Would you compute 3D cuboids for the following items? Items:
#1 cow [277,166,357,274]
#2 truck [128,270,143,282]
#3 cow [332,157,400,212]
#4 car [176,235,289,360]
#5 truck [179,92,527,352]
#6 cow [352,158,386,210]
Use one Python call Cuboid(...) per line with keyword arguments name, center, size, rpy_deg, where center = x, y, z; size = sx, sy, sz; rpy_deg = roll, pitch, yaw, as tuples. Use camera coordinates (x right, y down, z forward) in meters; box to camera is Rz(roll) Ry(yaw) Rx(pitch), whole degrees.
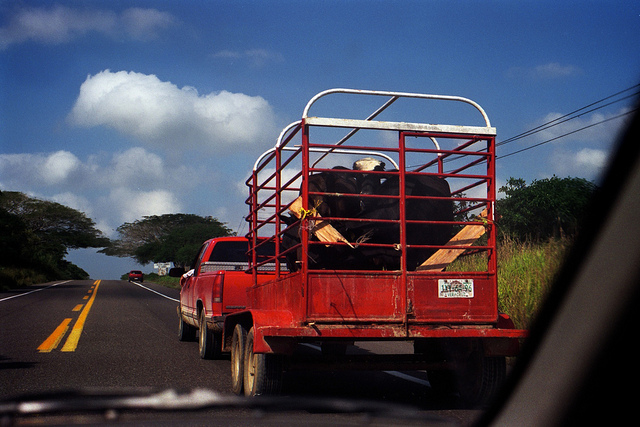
Cuboid(name="cow", center=(-0.030, 0.062, 8.061), size=(0.852, 1.420, 1.329), rpy_deg=(3, -5, -28))
Cuboid(name="truck", center=(-20.281, 6.803, 66.015), size=(1.048, 1.009, 2.253), rpy_deg=(3, -5, -28))
Cuboid(name="cow", center=(0.573, -0.308, 7.596), size=(0.652, 0.662, 0.274), rpy_deg=(1, -13, 3))
Cuboid(name="car", center=(-1.841, 1.381, 11.747), size=(1.684, 1.683, 3.684), rpy_deg=(1, -3, -15))
Cuboid(name="truck", center=(0.223, 0.355, 9.403), size=(2.705, 2.404, 4.739), rpy_deg=(3, -6, -18))
Cuboid(name="cow", center=(0.719, -0.363, 8.544), size=(0.478, 0.425, 0.988), rpy_deg=(-7, -40, -6))
